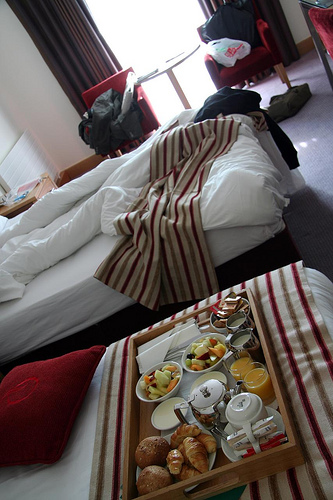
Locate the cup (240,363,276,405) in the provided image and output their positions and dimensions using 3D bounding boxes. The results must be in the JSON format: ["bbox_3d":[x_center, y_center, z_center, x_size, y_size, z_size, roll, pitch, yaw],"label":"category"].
[{"bbox_3d":[0.184,0.267,0.663,0.060,0.069,0.065,-26,26,14],"label":"cup"}]

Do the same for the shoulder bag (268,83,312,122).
[{"bbox_3d":[1.194,-1.423,3.184,0.398,0.129,0.413,-18,34,28],"label":"shoulder bag"}]

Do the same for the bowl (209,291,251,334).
[{"bbox_3d":[0.166,0.172,0.921,0.086,0.039,0.110,-30,27,13],"label":"bowl"}]

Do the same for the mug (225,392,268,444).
[{"bbox_3d":[0.139,0.285,0.577,0.087,0.062,0.099,-4,29,9],"label":"mug"}]

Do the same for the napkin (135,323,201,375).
[{"bbox_3d":[-0.030,0.349,1.073,0.216,0.424,0.043,-7,49,-16],"label":"napkin"}]

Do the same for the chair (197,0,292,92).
[{"bbox_3d":[0.908,-2.074,3.721,0.723,0.681,0.690,-18,34,28],"label":"chair"}]

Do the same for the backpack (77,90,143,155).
[{"bbox_3d":[-0.655,-1.443,3.992,0.738,0.744,0.263,-27,-4,11],"label":"backpack"}]

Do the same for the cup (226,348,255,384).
[{"bbox_3d":[0.160,0.253,0.747,0.044,0.077,0.077,-13,37,17],"label":"cup"}]

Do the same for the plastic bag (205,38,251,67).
[{"bbox_3d":[0.643,-2.162,3.605,0.447,0.289,0.273,1,45,46],"label":"plastic bag"}]
